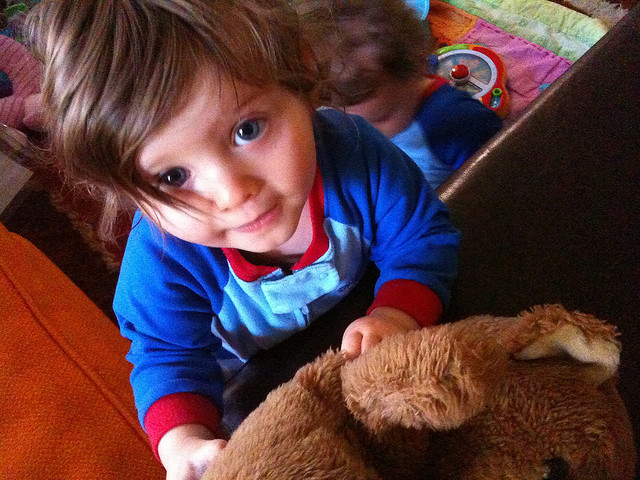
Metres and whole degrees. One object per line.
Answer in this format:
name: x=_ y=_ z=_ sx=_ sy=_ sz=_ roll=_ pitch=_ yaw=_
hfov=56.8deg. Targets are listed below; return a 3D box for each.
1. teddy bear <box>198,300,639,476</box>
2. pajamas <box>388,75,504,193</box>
teddy bear: x=0.127 y=0.144 z=0.749 sx=0.372 sy=0.283 sz=0.192 roll=-14 pitch=45 yaw=-4
pajamas: x=0.379 y=-0.259 z=1.718 sx=0.318 sy=0.101 sz=0.320 roll=41 pitch=98 yaw=19
